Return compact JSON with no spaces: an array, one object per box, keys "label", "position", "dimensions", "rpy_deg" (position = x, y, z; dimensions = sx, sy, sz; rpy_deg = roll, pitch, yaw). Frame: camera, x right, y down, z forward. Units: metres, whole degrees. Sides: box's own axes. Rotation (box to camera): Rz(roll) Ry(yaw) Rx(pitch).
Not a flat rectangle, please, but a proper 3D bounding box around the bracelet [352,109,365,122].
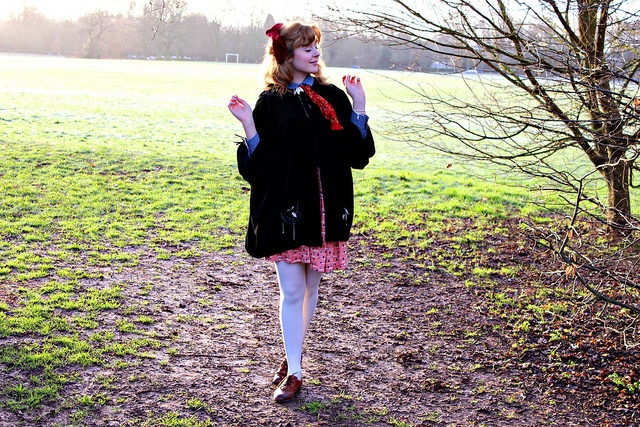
[{"label":"bracelet","position":[0.543,-1.294,12.403],"dimensions":[0.153,0.129,0.176],"rpy_deg":[0,5,-27]}]
